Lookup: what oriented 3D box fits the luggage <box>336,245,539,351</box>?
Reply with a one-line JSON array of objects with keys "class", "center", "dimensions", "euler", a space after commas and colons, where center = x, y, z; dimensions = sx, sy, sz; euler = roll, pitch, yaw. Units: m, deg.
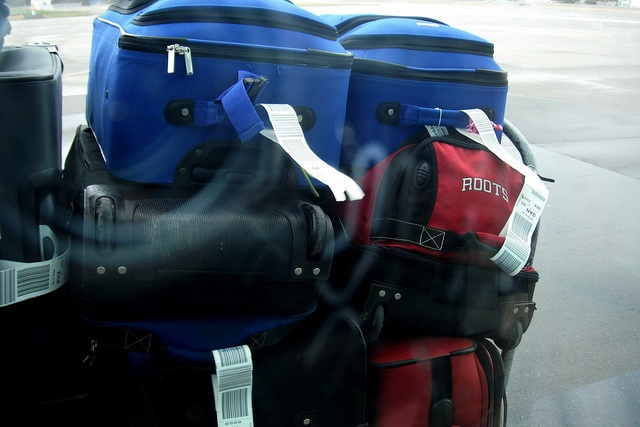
[{"class": "luggage", "center": [0.336, 0.228, 1.653], "dimensions": [0.472, 0.282, 0.642], "euler": [9, -9, -3]}]

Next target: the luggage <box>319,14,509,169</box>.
[{"class": "luggage", "center": [0.246, -0.320, 1.562], "dimensions": [0.444, 0.319, 0.455], "euler": [5, 19, -2]}]

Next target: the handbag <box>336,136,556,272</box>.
[{"class": "handbag", "center": [0.229, -0.006, 1.759], "dimensions": [0.680, 0.355, 0.866], "euler": [3, -7, -28]}]
